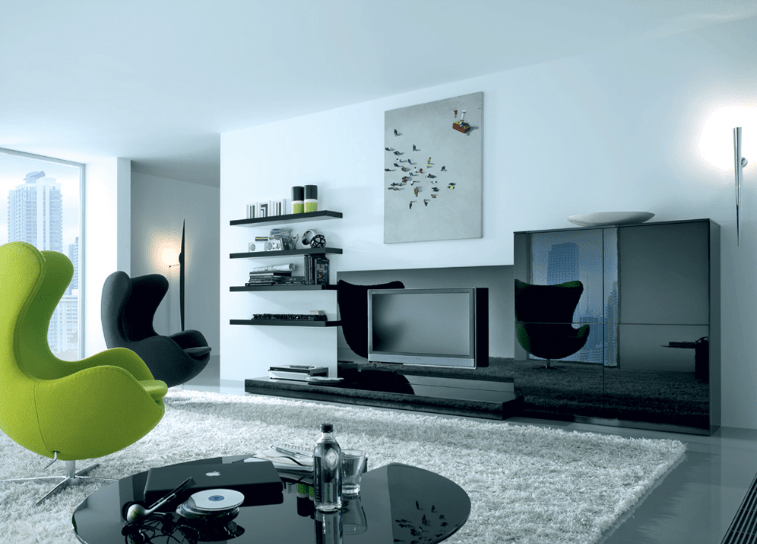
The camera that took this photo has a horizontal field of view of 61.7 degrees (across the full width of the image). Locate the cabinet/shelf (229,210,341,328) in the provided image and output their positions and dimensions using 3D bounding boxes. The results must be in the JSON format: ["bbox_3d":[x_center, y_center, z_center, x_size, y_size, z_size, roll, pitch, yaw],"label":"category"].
[{"bbox_3d":[-1.020,-0.035,7.219,1.421,1.173,0.426,-3,-4,30],"label":"cabinet/shelf"}]

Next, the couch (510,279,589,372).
[{"bbox_3d":[1.464,0.442,5.393,0.496,0.720,0.422,3,0,42],"label":"couch"}]

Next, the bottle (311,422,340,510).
[{"bbox_3d":[-0.247,0.874,2.855,0.143,0.382,0.139,3,0,0],"label":"bottle"}]
